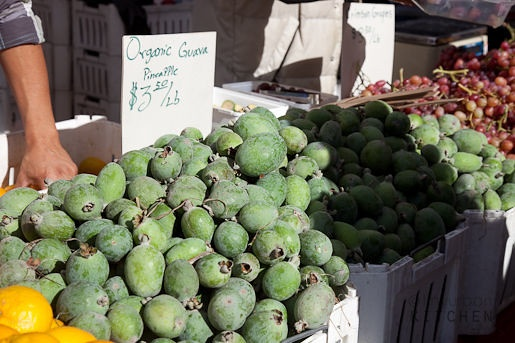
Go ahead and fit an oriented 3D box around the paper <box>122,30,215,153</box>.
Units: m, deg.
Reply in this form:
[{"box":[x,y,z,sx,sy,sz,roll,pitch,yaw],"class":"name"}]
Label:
[{"box":[-0.546,-0.469,3.255,0.662,0.784,0.031,-14,25,-37],"class":"paper"}]
